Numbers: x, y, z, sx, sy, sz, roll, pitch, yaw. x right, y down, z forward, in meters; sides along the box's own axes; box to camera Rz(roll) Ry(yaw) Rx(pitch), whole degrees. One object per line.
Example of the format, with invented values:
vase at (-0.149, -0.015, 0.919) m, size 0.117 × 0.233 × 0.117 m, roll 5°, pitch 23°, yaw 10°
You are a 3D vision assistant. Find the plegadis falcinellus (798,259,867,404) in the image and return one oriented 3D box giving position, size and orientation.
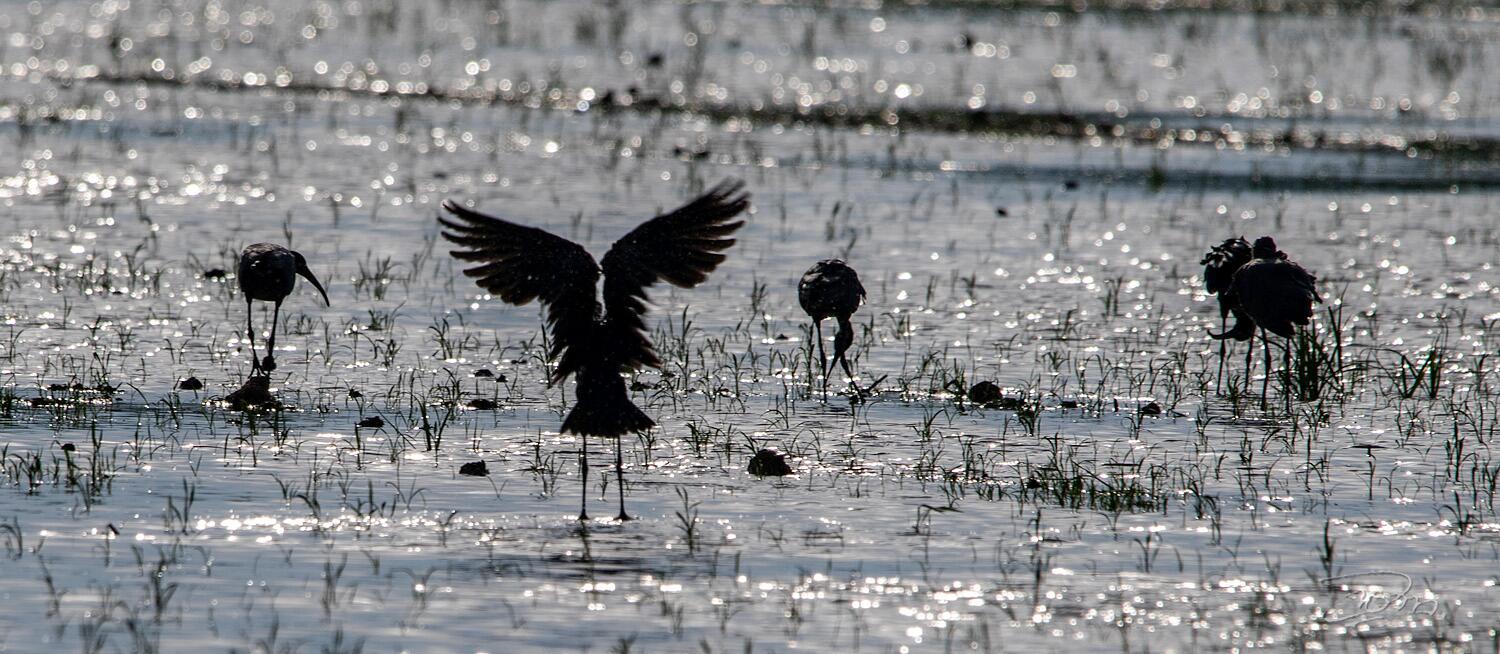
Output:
plegadis falcinellus at (1.478, 0.048, 46.058) m, size 1.212 × 2.443 × 1.841 m, roll 4°, pitch -3°, yaw 2°

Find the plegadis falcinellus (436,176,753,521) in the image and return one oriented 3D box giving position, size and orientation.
plegadis falcinellus at (-2.838, 0.764, 44.112) m, size 9.032 × 5.864 × 3.505 m, roll -1°, pitch 9°, yaw -1°

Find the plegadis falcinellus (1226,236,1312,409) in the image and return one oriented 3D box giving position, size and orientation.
plegadis falcinellus at (9.789, -0.035, 45.540) m, size 1.627 × 3.068 × 1.042 m, roll 3°, pitch -3°, yaw 9°
